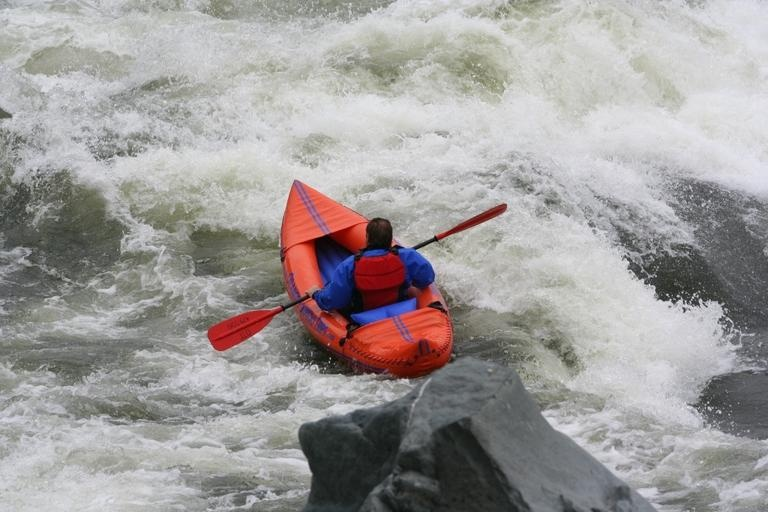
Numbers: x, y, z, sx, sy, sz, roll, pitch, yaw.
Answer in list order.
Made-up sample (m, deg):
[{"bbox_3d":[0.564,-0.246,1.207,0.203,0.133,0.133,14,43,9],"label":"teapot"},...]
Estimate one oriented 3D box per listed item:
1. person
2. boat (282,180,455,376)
[{"bbox_3d":[-0.161,0.311,18.842,1.416,0.646,1.135,-41,84,-8],"label":"person"},{"bbox_3d":[-0.373,0.400,19.761,2.075,1.242,3.888,-18,47,-21],"label":"boat"}]
